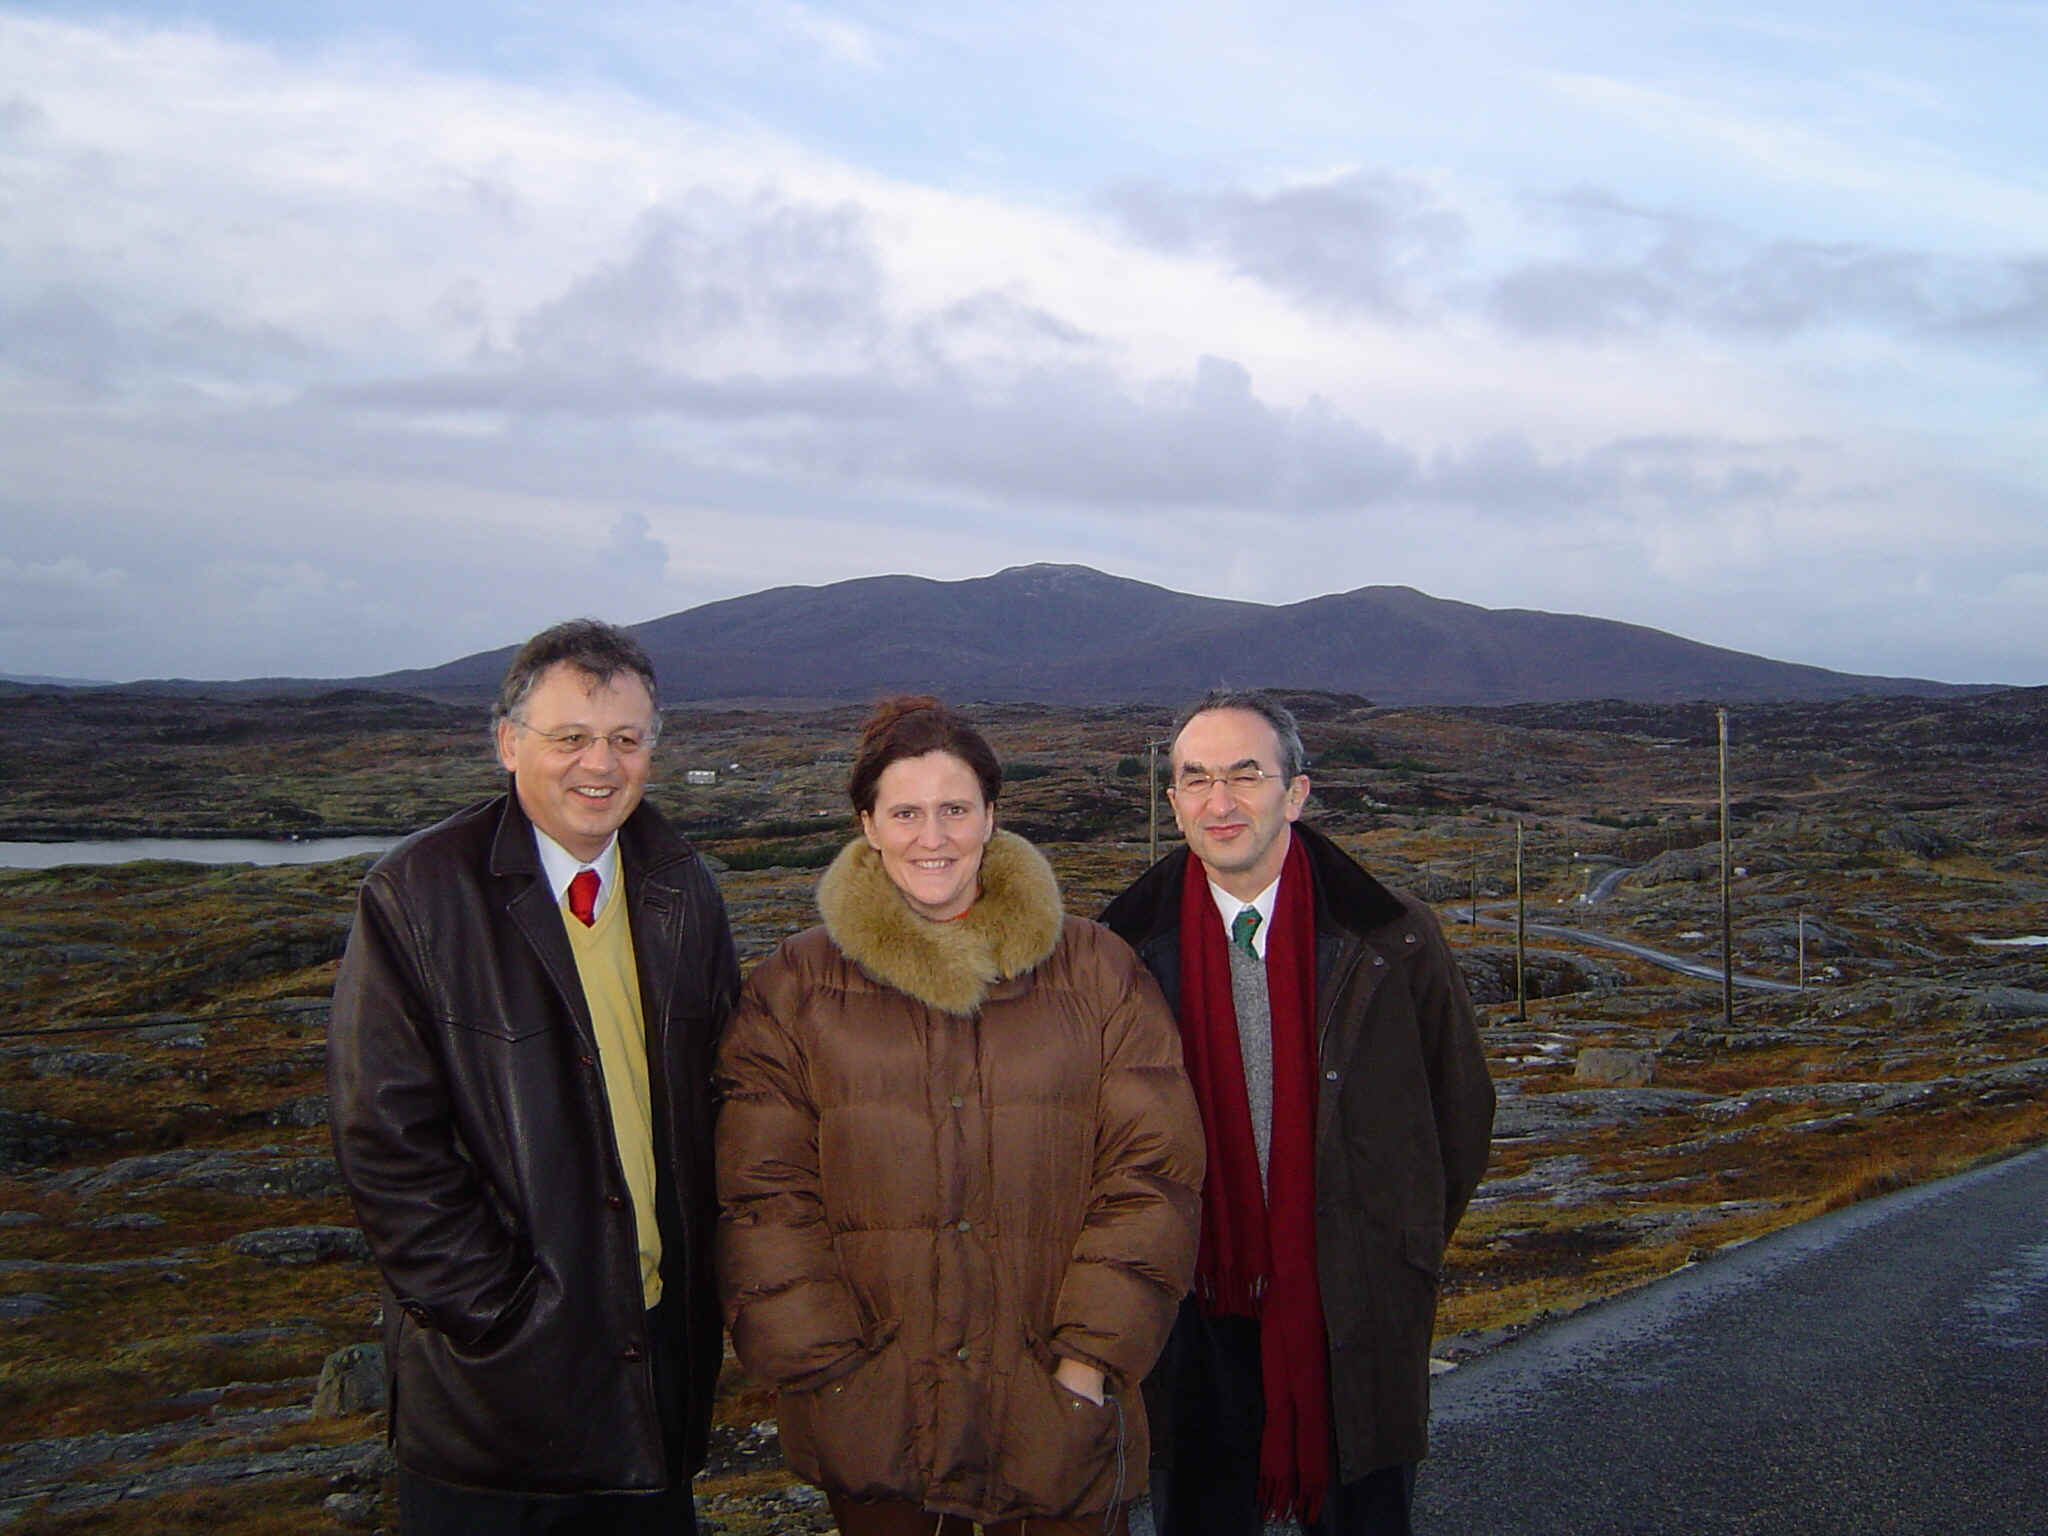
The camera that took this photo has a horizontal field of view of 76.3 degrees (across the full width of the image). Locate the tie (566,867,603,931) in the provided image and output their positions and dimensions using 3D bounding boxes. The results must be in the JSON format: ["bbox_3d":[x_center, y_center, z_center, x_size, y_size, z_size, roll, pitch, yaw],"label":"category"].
[{"bbox_3d":[-1.952,0.582,5.804,0.175,0.224,0.060,8,-8,-25],"label":"tie"}]

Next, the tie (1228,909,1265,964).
[{"bbox_3d":[1.121,0.848,6.595,0.171,0.229,0.057,8,3,4],"label":"tie"}]
